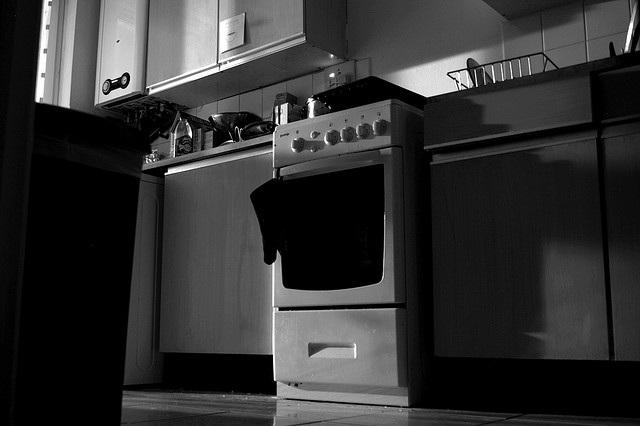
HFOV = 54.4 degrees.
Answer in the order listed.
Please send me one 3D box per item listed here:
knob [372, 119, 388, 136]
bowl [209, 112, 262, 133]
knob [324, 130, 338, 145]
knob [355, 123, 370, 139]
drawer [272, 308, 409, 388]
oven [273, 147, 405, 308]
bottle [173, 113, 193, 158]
[{"bbox_3d":[0.224,-0.316,2.304,0.052,0.074,0.039,-4,-10,39],"label":"knob"},{"bbox_3d":[-0.473,-0.499,3.397,0.283,0.138,0.122,-2,-12,-1],"label":"bowl"},{"bbox_3d":[0.040,-0.290,2.399,0.051,0.052,0.015,3,-3,42],"label":"knob"},{"bbox_3d":[0.157,-0.309,2.336,0.058,0.063,0.022,-9,-14,27],"label":"knob"},{"bbox_3d":[0.130,0.542,2.404,0.558,0.342,0.304,-7,-9,32],"label":"drawer"},{"bbox_3d":[0.113,0.138,2.606,0.580,0.697,0.543,-9,-15,36],"label":"oven"},{"bbox_3d":[-0.737,-0.419,3.407,0.098,0.071,0.239,-6,-50,-15],"label":"bottle"}]
